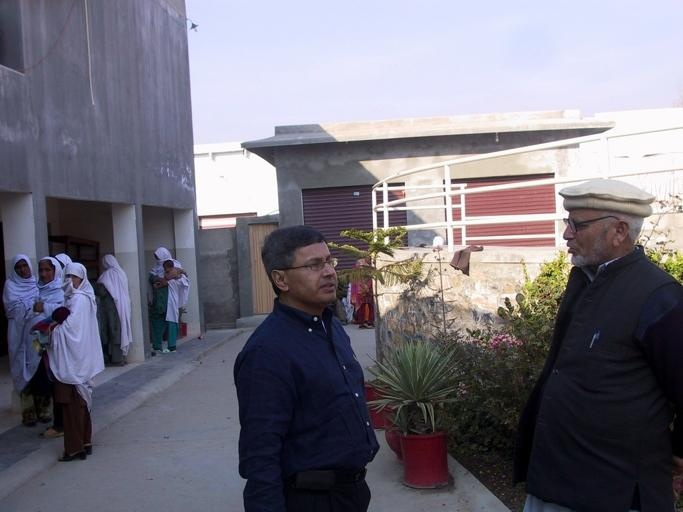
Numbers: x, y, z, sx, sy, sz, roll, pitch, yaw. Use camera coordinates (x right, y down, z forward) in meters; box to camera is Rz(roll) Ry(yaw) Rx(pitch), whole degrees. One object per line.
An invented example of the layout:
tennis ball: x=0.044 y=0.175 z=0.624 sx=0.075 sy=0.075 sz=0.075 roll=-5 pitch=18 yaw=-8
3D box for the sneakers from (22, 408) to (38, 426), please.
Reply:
sneakers: x=-3.757 y=1.948 z=8.484 sx=0.191 sy=0.224 sz=0.197 roll=-1 pitch=-4 yaw=30

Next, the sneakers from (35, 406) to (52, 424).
sneakers: x=-3.610 y=1.944 z=8.527 sx=0.189 sy=0.218 sz=0.187 roll=2 pitch=-5 yaw=-20

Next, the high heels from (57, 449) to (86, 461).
high heels: x=-2.857 y=2.137 z=7.489 sx=0.211 sy=0.091 sz=0.098 roll=4 pitch=1 yaw=-6

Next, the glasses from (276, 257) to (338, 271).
glasses: x=-0.188 y=0.048 z=4.201 sx=0.177 sy=0.047 sz=0.138 roll=-12 pitch=-3 yaw=26

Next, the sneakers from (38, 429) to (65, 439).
sneakers: x=-3.307 y=2.042 z=8.018 sx=0.225 sy=0.101 sz=0.088 roll=4 pitch=-3 yaw=-10

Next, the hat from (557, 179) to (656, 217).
hat: x=1.687 y=-0.365 z=4.515 sx=0.608 sy=0.235 sz=0.666 roll=4 pitch=-5 yaw=30

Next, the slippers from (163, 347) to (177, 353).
slippers: x=-3.248 y=1.799 z=13.291 sx=0.203 sy=0.056 sz=0.085 roll=4 pitch=-3 yaw=-28

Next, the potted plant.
potted plant: x=0.799 y=1.465 z=6.631 sx=0.917 sy=1.363 sz=0.848 roll=-1 pitch=-15 yaw=-14
